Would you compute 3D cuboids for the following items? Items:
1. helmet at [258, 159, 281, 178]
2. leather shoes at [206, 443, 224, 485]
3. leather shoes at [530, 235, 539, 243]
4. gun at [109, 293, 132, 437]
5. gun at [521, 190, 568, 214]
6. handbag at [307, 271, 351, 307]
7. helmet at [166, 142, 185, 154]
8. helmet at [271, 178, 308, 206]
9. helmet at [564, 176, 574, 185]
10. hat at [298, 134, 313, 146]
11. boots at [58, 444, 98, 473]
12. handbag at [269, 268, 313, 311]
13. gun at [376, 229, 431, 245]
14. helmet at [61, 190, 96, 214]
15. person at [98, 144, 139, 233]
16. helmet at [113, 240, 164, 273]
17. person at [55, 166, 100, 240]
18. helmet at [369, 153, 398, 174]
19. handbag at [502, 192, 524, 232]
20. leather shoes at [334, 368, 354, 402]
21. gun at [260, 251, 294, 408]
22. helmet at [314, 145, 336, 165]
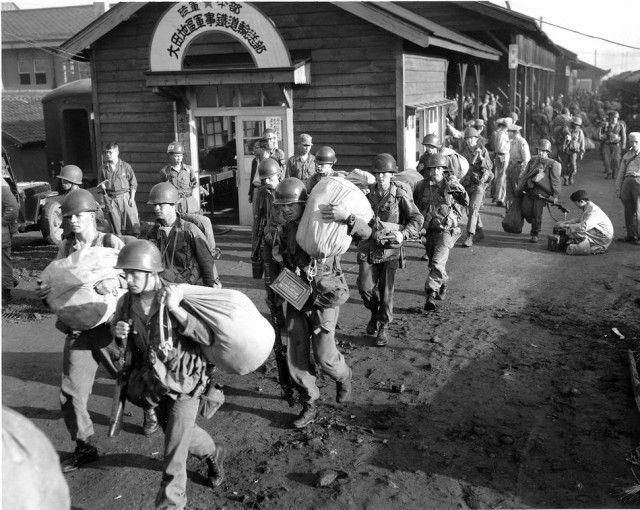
[{"bbox_3d":[-0.629,-1.067,7.513,0.268,0.217,0.248,-4,14,-10],"label":"helmet"},{"bbox_3d":[-0.884,1.789,5.166,0.116,0.382,0.143,-8,-10,38],"label":"leather shoes"},{"bbox_3d":[4.514,-0.353,12.894,0.086,0.124,0.260,-4,4,20],"label":"leather shoes"},{"bbox_3d":[-1.664,0.876,5.086,0.075,1.428,0.265,3,-4,-4],"label":"gun"},{"bbox_3d":[4.899,-1.153,13.427,1.228,0.246,0.306,31,8,15],"label":"gun"},{"bbox_3d":[0.040,0.332,6.116,0.347,0.358,0.298,14,26,32],"label":"handbag"},{"bbox_3d":[-2.814,-2.065,11.813,0.338,0.332,0.279,5,16,44],"label":"helmet"},{"bbox_3d":[-0.294,-0.638,6.124,0.334,0.254,0.248,-2,14,-3],"label":"helmet"},{"bbox_3d":[8.213,-2.459,20.181,0.192,0.295,0.628,-4,6,21],"label":"helmet"},{"bbox_3d":[-0.268,-2.147,11.493,0.255,0.227,0.371,3,22,-6],"label":"hat"},{"bbox_3d":[-2.147,1.750,5.457,0.312,0.217,0.269,-9,16,-26],"label":"boots"},{"bbox_3d":[-0.277,0.321,5.907,0.391,0.334,0.131,39,4,13],"label":"handbag"},{"bbox_3d":[1.059,-0.241,7.804,0.771,0.268,0.203,0,-13,-45],"label":"gun"},{"bbox_3d":[-2.301,-0.508,5.859,0.214,0.211,0.277,-3,7,3],"label":"helmet"},{"bbox_3d":[-4.035,-1.224,12.125,0.714,1.979,0.565,-4,25,-16],"label":"person"},{"bbox_3d":[-1.415,0.029,4.759,0.402,0.287,0.358,0,-9,-31],"label":"helmet"},{"bbox_3d":[-3.681,-0.667,8.923,0.660,1.225,0.325,-10,-17,39],"label":"person"},{"bbox_3d":[0.837,-1.177,7.906,0.289,0.236,0.398,4,37,9],"label":"helmet"},{"bbox_3d":[4.186,-0.954,13.470,0.206,0.319,0.659,-3,-33,-32],"label":"handbag"},{"bbox_3d":[0.270,1.360,6.428,0.231,0.126,0.401,36,-20,22],"label":"leather shoes"},{"bbox_3d":[-0.426,0.772,6.186,0.173,1.561,0.440,-7,-9,-26],"label":"gun"},{"bbox_3d":[0.066,-1.414,8.970,0.306,0.270,0.437,-6,35,-7],"label":"helmet"}]
